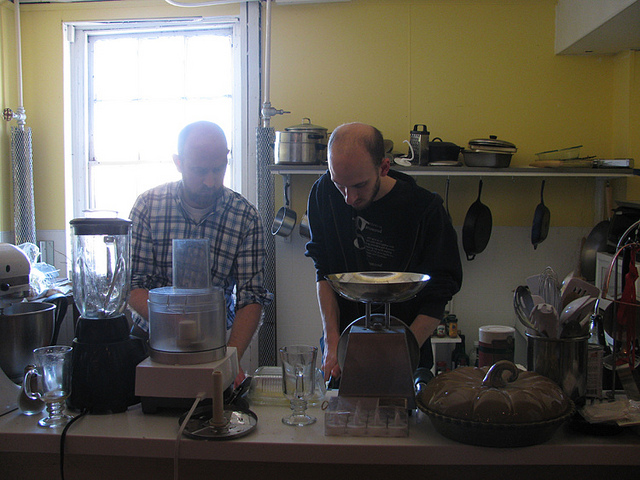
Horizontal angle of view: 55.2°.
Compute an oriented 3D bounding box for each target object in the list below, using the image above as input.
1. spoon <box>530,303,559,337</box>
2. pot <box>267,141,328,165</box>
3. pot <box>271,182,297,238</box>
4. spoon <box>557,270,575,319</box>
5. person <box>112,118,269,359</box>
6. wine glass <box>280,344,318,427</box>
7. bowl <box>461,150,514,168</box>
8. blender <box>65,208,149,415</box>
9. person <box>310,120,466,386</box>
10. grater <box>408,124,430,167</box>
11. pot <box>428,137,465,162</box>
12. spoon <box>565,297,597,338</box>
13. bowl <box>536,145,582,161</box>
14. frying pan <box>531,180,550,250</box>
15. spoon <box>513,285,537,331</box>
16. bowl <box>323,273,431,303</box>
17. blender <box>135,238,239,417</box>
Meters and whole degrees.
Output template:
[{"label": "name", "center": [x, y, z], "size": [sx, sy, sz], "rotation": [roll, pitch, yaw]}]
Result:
[{"label": "spoon", "center": [0.707, 0.252, 1.927], "size": [0.072, 0.106, 0.025], "rotation": [1, 12, 8]}, {"label": "pot", "center": [-0.123, -0.487, 3.453], "size": [0.243, 0.094, 0.148], "rotation": [1, 7, 11]}, {"label": "pot", "center": [-0.217, -0.184, 3.773], "size": [0.209, 0.313, 0.160], "rotation": [10, -4, -41]}, {"label": "spoon", "center": [0.868, 0.192, 2.165], "size": [0.030, 0.142, 0.077], "rotation": [10, 3, 15]}, {"label": "person", "center": [-0.515, -0.008, 2.507], "size": [0.625, 0.951, 1.059], "rotation": [0, 6, -6]}, {"label": "wine glass", "center": [-0.071, 0.459, 1.976], "size": [0.118, 0.244, 0.141], "rotation": [-2, 7, -8]}, {"label": "bowl", "center": [0.954, -0.457, 3.496], "size": [0.261, 0.099, 0.098], "rotation": [0, 7, 13]}, {"label": "blender", "center": [-0.750, 0.246, 2.119], "size": [0.278, 0.693, 0.317], "rotation": [-3, -1, 42]}, {"label": "person", "center": [0.265, 0.039, 2.407], "size": [0.594, 0.974, 0.656], "rotation": [-2, 7, -2]}, {"label": "grater", "center": [0.579, -0.553, 3.585], "size": [0.110, 0.242, 0.179], "rotation": [-1, 7, 7]}, {"label": "pot", "center": [0.735, -0.508, 3.543], "size": [0.221, 0.115, 0.082], "rotation": [-5, 8, -24]}, {"label": "spoon", "center": [0.814, 0.244, 1.914], "size": [0.089, 0.125, 0.022], "rotation": [-1, 6, 1]}, {"label": "bowl", "center": [1.462, -0.522, 3.720], "size": [0.213, 0.084, 0.122], "rotation": [2, 2, 4]}, {"label": "frying pan", "center": [1.333, -0.148, 3.710], "size": [0.103, 0.425, 0.140], "rotation": [1, 7, 21]}, {"label": "spoon", "center": [0.666, 0.222, 1.997], "size": [0.044, 0.145, 0.021], "rotation": [-5, -24, 16]}, {"label": "bowl", "center": [0.211, 0.141, 1.957], "size": [0.246, 0.070, 0.257], "rotation": [0, -18, 0]}, {"label": "blender", "center": [-0.447, 0.287, 2.044], "size": [0.306, 0.549, 0.289], "rotation": [-1, 7, 5]}]
